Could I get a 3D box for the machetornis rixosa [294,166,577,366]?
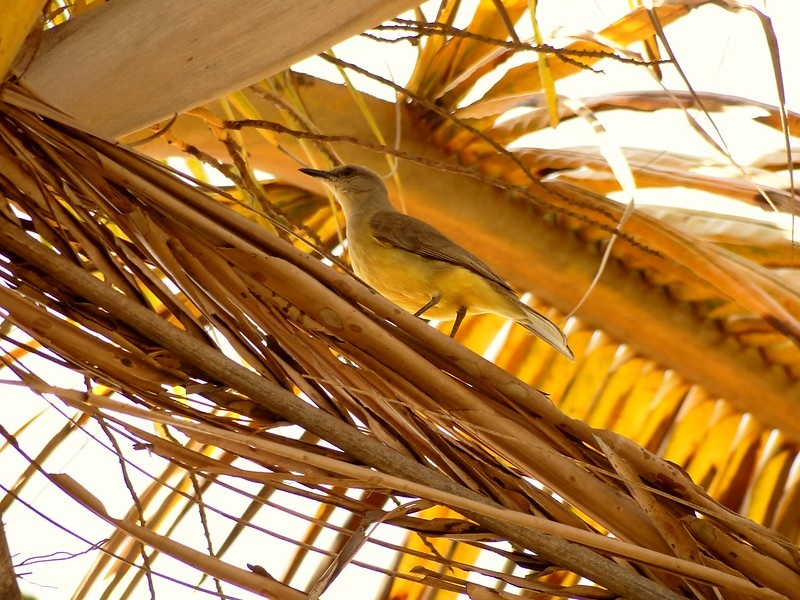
[{"bbox_3d":[0.112,-0.154,4.159,1.074,1.579,0.864,-2,-92,20],"label":"machetornis rixosa"}]
